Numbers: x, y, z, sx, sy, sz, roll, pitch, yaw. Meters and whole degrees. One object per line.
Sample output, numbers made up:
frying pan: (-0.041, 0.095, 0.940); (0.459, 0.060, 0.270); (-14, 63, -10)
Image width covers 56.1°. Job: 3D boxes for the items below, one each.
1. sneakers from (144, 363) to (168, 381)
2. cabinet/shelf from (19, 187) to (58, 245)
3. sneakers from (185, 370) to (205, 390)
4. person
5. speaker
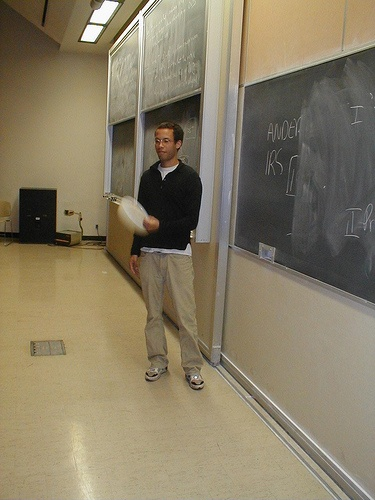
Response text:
sneakers: (-0.206, 0.802, 2.344); (0.059, 0.092, 0.169); (1, -4, 16)
cabinet/shelf: (-2.969, -0.672, 6.965); (0.754, 1.474, 0.646); (0, 7, -6)
sneakers: (0.054, 0.810, 2.209); (0.054, 0.076, 0.166); (1, -5, -12)
person: (-0.110, 0.051, 2.215); (0.489, 1.624, 0.430); (2, 2, -10)
speaker: (-2.978, -0.710, 6.961); (0.716, 1.408, 0.611); (0, 7, -6)
